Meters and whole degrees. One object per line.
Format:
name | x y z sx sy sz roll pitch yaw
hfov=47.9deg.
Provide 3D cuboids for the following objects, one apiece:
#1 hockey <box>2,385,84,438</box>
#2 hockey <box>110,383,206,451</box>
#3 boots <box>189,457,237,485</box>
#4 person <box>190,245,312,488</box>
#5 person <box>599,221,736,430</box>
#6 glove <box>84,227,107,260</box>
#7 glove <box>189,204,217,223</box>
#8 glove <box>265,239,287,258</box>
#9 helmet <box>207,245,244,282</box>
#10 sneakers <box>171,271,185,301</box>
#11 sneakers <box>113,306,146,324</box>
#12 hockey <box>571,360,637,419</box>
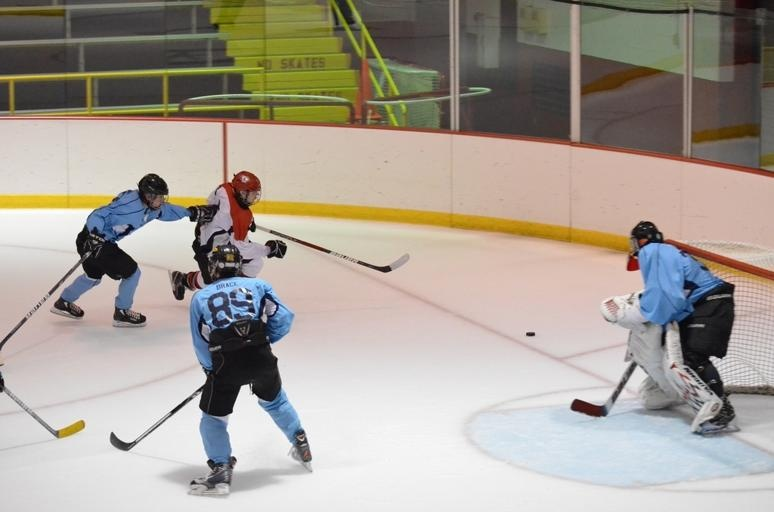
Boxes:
hockey | -2.130 0.987 5.354 0.414 0.101 0.379 33 9 3
hockey | -1.435 1.026 5.457 0.948 0.165 0.064 -25 1 11
boots | -0.974 1.196 4.847 0.236 0.144 0.178 -1 10 3
person | -0.818 0.709 4.892 0.701 1.158 0.417 -7 13 -21
person | 1.763 0.491 5.410 0.767 1.132 0.478 1 12 13
glove | -2.284 -0.095 6.831 0.229 0.216 0.105 12 8 -7
glove | -1.485 -0.334 6.946 0.215 0.143 0.164 5 12 35
glove | -0.912 -0.068 7.312 0.209 0.152 0.142 -2 11 -10
helmet | -0.922 0.042 4.930 0.205 0.194 0.218 1 19 -14
sneakers | -1.724 0.248 7.236 0.113 0.241 0.119 -2 -4 -1
sneakers | -2.085 0.488 7.074 0.306 0.151 0.106 0 10 -7
hockey | 1.272 0.852 5.442 0.416 0.372 0.105 18 -27 40
